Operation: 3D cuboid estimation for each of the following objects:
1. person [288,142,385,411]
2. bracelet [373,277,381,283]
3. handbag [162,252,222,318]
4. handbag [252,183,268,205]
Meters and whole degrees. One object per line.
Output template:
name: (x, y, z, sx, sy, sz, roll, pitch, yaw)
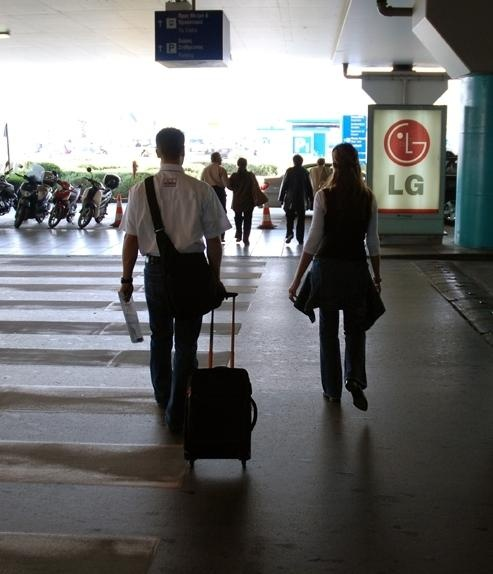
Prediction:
person: (0.636, -0.074, 3.639, 0.658, 1.881, 0.665, 2, 6, 20)
bracelet: (0.993, -0.054, 3.909, 0.045, 0.069, 0.019, -2, 1, 3)
handbag: (-0.338, -0.012, 3.032, 0.258, 0.372, 0.184, -14, -8, -26)
handbag: (0.344, -2.283, 12.763, 0.323, 0.510, 0.419, -5, -9, 5)
